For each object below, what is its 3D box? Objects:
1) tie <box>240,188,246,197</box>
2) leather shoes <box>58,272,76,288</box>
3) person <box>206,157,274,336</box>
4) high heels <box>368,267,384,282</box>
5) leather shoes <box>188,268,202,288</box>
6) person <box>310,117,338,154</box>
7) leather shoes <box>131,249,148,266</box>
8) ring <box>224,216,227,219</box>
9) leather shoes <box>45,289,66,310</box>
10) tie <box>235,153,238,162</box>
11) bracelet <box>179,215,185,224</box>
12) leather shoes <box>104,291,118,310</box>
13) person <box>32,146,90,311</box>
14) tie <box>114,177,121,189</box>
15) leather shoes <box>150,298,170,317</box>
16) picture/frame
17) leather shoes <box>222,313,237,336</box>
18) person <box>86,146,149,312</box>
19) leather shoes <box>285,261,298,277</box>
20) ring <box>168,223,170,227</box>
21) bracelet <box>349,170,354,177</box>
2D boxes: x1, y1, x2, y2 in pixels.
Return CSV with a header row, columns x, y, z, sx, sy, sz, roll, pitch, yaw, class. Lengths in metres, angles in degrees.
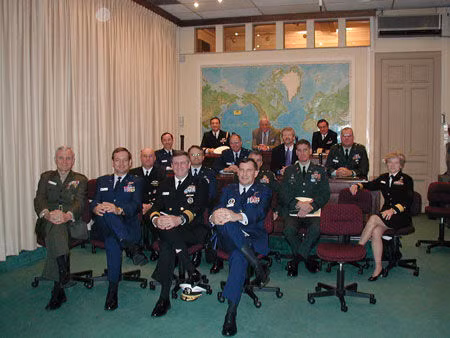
x,y,z,sx,sy,sz,roll,pitch,yaw,class
0.215,0.270,4.478,0.027,0.111,0.029,19,-26,17,tie
-1.781,1.254,4.369,0.103,0.066,0.253,-5,-3,-38,leather shoes
0.155,0.718,4.142,0.655,1.583,1.106,0,10,6,person
1.939,1.345,4.918,0.305,0.123,0.099,-1,-8,-29,high heels
-0.319,1.157,4.184,0.151,0.191,0.095,-3,10,-15,leather shoes
1.964,-0.656,7.804,0.544,0.705,0.757,0,8,18,person
-0.944,1.009,4.330,0.149,0.223,0.203,-3,10,-15,leather shoes
0.008,0.507,4.065,0.032,0.031,0.011,-1,10,0,ring
-1.854,1.421,4.260,0.153,0.151,0.210,0,10,4,leather shoes
0.206,-0.200,6.885,0.040,0.144,0.042,9,-18,1,tie
-0.481,0.561,4.340,0.063,0.087,0.079,1,-9,-19,bracelet
-1.235,1.425,4.225,0.131,0.152,0.172,-3,10,-14,leather shoes
-1.954,0.591,4.676,0.639,1.642,1.214,-4,11,-20,person
-1.341,0.175,4.932,0.047,0.177,0.024,21,-20,15,tie
-0.672,1.448,4.067,0.097,0.153,0.187,5,12,31,leather shoes
1.245,-1.455,8.497,2.541,1.390,0.046,1,2,7,picture/frame
0.045,1.501,3.814,0.144,0.164,0.238,0,10,2,leather shoes
-1.264,0.604,4.644,0.643,1.622,1.149,-3,10,-15,person
0.866,1.283,4.993,0.127,0.200,0.209,1,-2,-2,leather shoes
-0.607,0.614,4.223,0.034,0.037,0.010,-2,10,-9,ring
1.996,0.081,6.080,0.079,0.038,0.106,7,30,-13,bracelet
